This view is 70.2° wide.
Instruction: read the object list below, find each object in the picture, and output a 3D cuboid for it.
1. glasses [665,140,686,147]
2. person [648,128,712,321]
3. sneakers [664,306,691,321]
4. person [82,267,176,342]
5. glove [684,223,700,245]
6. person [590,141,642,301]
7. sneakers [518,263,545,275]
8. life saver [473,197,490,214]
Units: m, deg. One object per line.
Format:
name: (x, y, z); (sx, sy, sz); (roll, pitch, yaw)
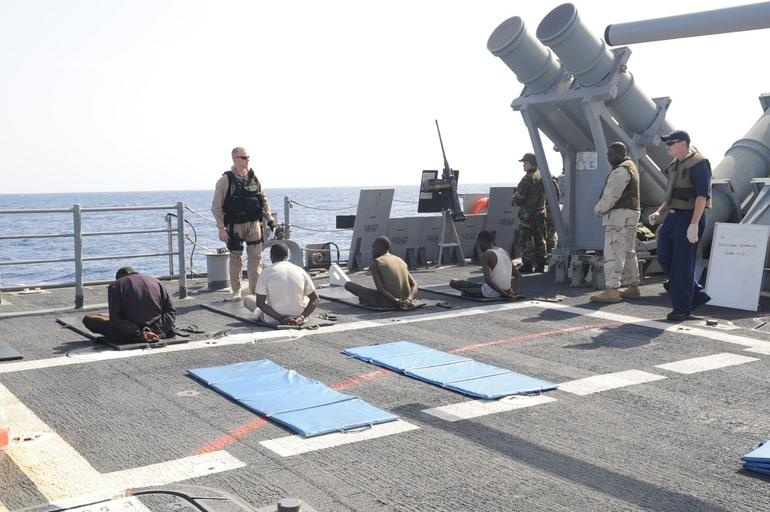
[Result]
glasses: (4.636, -1.801, 8.677); (0.245, 0.103, 0.114); (4, 9, 26)
person: (4.808, -0.491, 8.841); (0.829, 3.050, 1.015); (5, 10, 29)
sneakers: (4.687, 0.973, 8.723); (0.453, 0.170, 0.156); (1, 2, -7)
person: (-3.492, 0.585, 7.560); (1.225, 0.909, 1.064); (-9, 12, -36)
glove: (4.747, -0.337, 8.444); (0.141, 0.322, 0.210); (6, 11, 36)
person: (4.376, -0.632, 10.209); (0.616, 2.985, 0.985); (8, 12, 42)
sneakers: (3.671, 0.335, 13.604); (0.209, 0.259, 0.617); (-8, 13, -41)
life saver: (2.789, -1.483, 15.949); (0.629, 0.467, 0.402); (-8, 12, -43)
